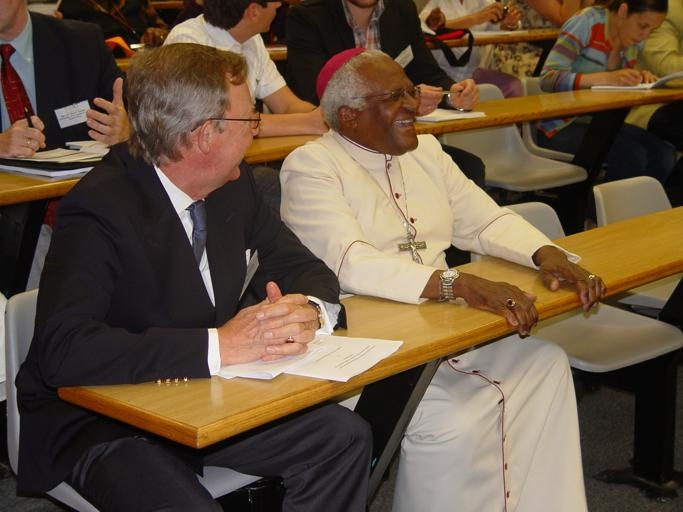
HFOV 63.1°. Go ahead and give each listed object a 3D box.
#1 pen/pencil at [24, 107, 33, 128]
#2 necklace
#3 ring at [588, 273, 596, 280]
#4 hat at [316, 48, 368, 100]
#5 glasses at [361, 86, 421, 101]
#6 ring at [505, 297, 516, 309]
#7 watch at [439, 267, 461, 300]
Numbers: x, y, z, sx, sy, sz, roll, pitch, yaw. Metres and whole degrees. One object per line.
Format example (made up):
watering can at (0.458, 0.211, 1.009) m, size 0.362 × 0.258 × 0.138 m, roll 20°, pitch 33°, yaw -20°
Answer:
pen/pencil at (-1.490, -0.670, 2.658) m, size 0.027 × 0.023 × 0.201 m, roll 4°, pitch 44°, yaw -23°
necklace at (0.212, -0.237, 2.329) m, size 0.120 × 0.545 × 0.075 m, roll -3°, pitch -20°, yaw -36°
ring at (0.821, 0.058, 1.831) m, size 0.018 × 0.008 × 0.021 m, roll 1°, pitch 32°, yaw 1°
hat at (-0.040, -0.773, 2.334) m, size 0.076 × 0.216 × 0.245 m, roll 32°, pitch 19°, yaw 2°
glasses at (0.199, -0.643, 2.197) m, size 0.112 × 0.033 × 0.112 m, roll -7°, pitch 9°, yaw 30°
ring at (0.500, 0.135, 1.641) m, size 0.024 × 0.014 × 0.026 m, roll 0°, pitch 57°, yaw -1°
watch at (0.342, 0.089, 1.795) m, size 0.058 × 0.093 × 0.114 m, roll 8°, pitch 21°, yaw 11°
